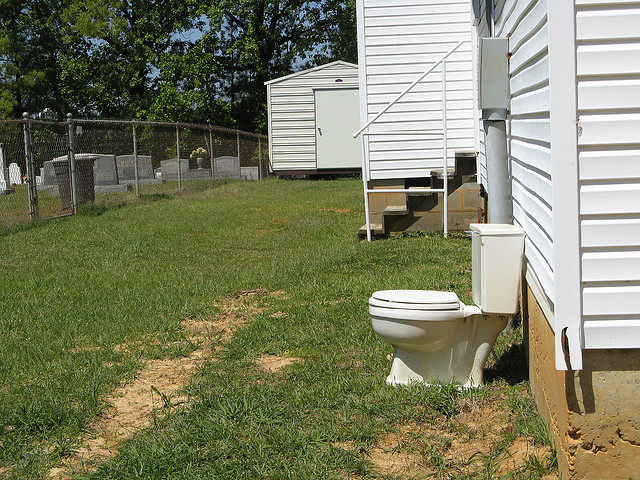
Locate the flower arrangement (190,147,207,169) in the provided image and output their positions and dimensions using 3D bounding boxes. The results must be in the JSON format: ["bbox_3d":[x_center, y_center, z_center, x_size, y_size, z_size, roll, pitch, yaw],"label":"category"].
[{"bbox_3d":[-4.741,-3.236,25.095,0.669,0.833,0.698,6,-9,-41],"label":"flower arrangement"}]

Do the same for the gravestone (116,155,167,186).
[{"bbox_3d":[-5.967,-2.188,21.038,1.461,1.204,1.114,0,10,-19],"label":"gravestone"}]

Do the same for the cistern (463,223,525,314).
[{"bbox_3d":[1.273,0.196,4.789,0.391,0.600,0.459,1,7,8],"label":"cistern"}]

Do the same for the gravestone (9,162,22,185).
[{"bbox_3d":[-10.370,-2.289,21.781,0.294,0.690,2.616,-5,7,-27],"label":"gravestone"}]

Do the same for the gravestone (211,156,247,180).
[{"bbox_3d":[-3.371,-2.296,23.649,1.349,1.486,0.747,-1,-1,-14],"label":"gravestone"}]
